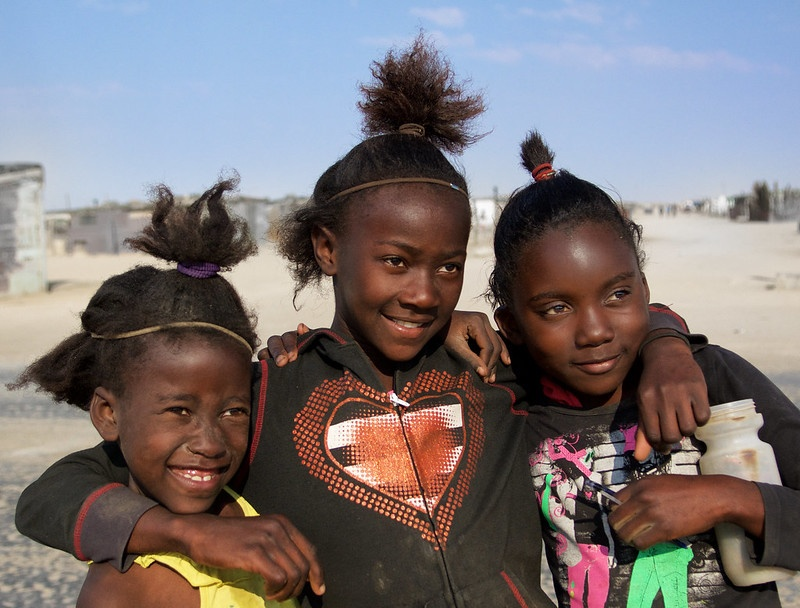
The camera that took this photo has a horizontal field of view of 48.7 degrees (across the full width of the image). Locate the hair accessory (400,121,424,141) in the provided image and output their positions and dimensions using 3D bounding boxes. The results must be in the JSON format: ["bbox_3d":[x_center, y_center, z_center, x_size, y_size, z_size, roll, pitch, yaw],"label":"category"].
[{"bbox_3d":[0.071,-0.883,4.508,0.108,0.060,0.112,0,2,-27],"label":"hair accessory"}]

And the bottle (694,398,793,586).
[{"bbox_3d":[1.488,0.830,3.832,0.391,0.847,0.228,0,4,15],"label":"bottle"}]
